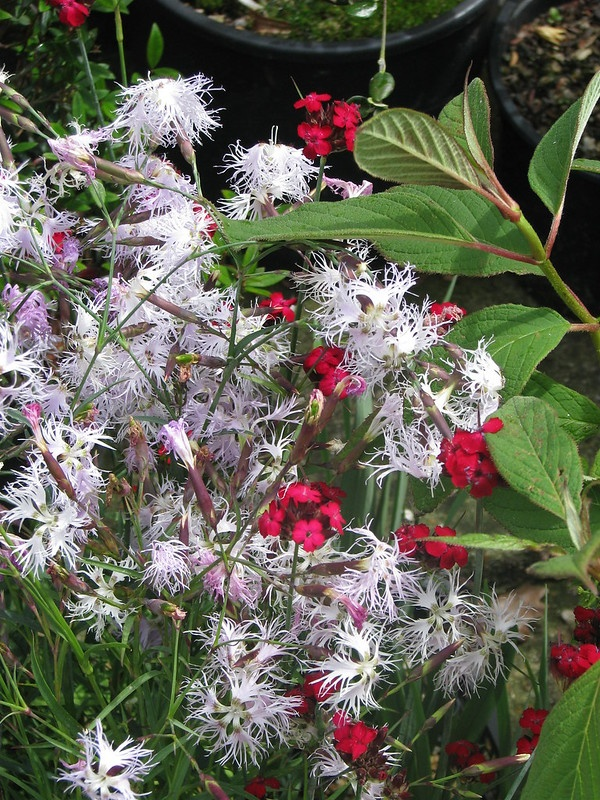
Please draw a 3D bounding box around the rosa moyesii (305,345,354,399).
[{"bbox_3d":[0.028,-0.028,0.725,0.032,0.048,0.035,1,16,11],"label":"rosa moyesii"}]

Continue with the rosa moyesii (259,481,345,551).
[{"bbox_3d":[0.007,0.092,0.613,0.067,0.027,0.067,-13,12,-16],"label":"rosa moyesii"}]

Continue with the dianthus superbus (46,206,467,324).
[{"bbox_3d":[-0.035,-0.134,0.881,0.410,0.179,0.207,-7,17,-9],"label":"dianthus superbus"}]

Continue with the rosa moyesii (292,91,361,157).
[{"bbox_3d":[0.023,-0.238,0.708,0.068,0.049,0.058,6,12,0],"label":"rosa moyesii"}]
